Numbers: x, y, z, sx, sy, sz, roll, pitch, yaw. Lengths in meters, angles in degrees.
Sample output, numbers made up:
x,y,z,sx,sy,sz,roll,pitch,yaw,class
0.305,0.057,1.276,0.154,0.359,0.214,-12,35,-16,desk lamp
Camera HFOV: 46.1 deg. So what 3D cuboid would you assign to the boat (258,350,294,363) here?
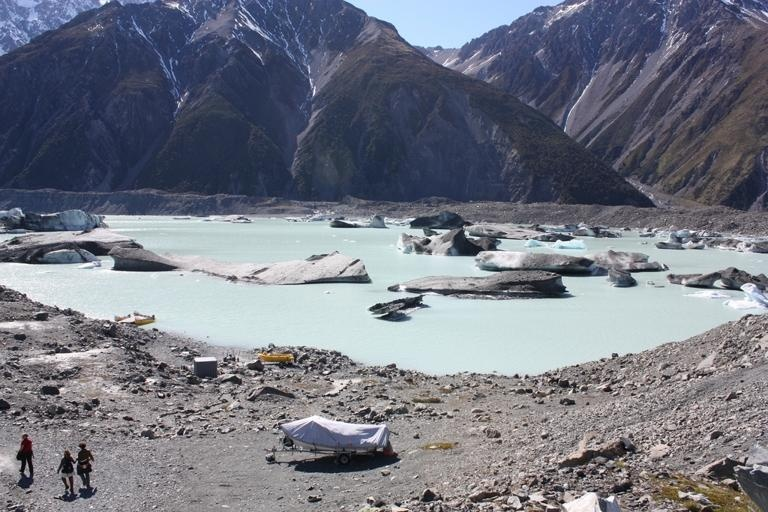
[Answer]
x,y,z,sx,sy,sz,roll,pitch,yaw,class
-20.835,19.518,174.159,5.600,1.581,2.445,1,-9,0,boat
